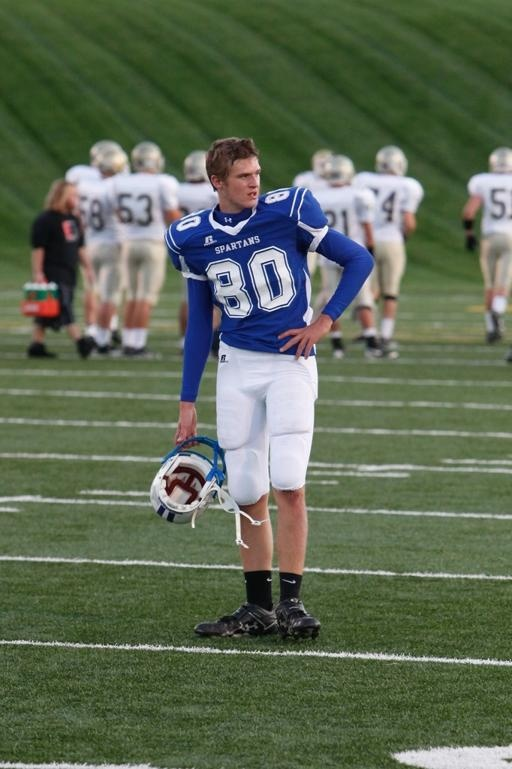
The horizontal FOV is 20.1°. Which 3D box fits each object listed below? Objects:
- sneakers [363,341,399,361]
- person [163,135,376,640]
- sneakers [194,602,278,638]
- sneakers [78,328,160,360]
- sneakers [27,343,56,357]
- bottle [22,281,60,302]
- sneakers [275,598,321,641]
[{"bbox_3d":[0.929,-0.250,10.520,0.341,0.137,0.101,-5,49,-4],"label":"sneakers"},{"bbox_3d":[-0.017,0.013,4.180,0.627,1.410,0.534,9,15,11],"label":"person"},{"bbox_3d":[-0.041,0.687,4.221,0.283,0.095,0.091,1,-2,-11],"label":"sneakers"},{"bbox_3d":[-0.972,-0.278,10.574,0.638,0.231,0.179,0,20,1],"label":"sneakers"},{"bbox_3d":[-1.489,-0.247,9.905,0.110,0.068,0.154,10,-8,1],"label":"sneakers"},{"bbox_3d":[-1.385,-0.593,9.275,0.214,0.133,0.269,3,14,-8],"label":"bottle"},{"bbox_3d":[0.113,0.673,4.106,0.079,0.110,0.144,-1,15,-22],"label":"sneakers"}]
